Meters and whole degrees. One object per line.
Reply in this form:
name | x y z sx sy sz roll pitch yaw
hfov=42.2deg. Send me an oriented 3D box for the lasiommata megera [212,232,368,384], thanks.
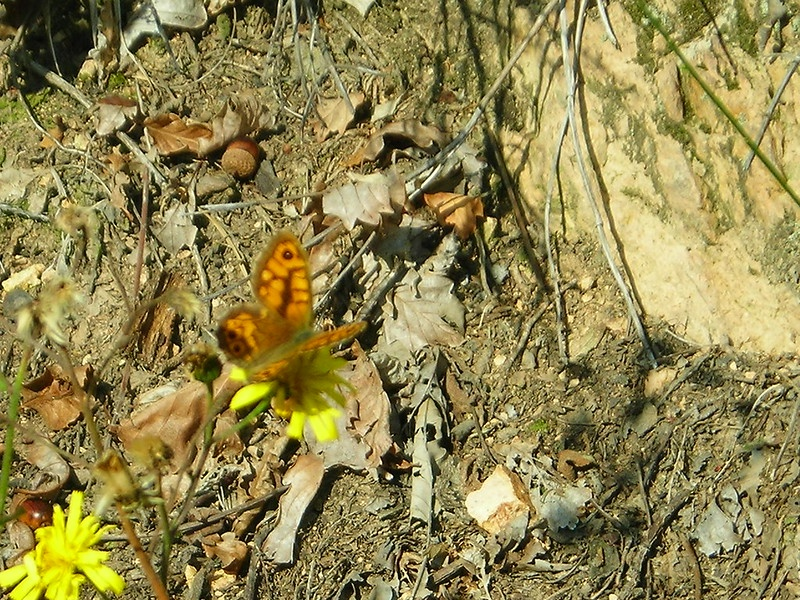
lasiommata megera | -0.380 0.083 3.270 0.395 0.439 0.357 -20 62 -24
